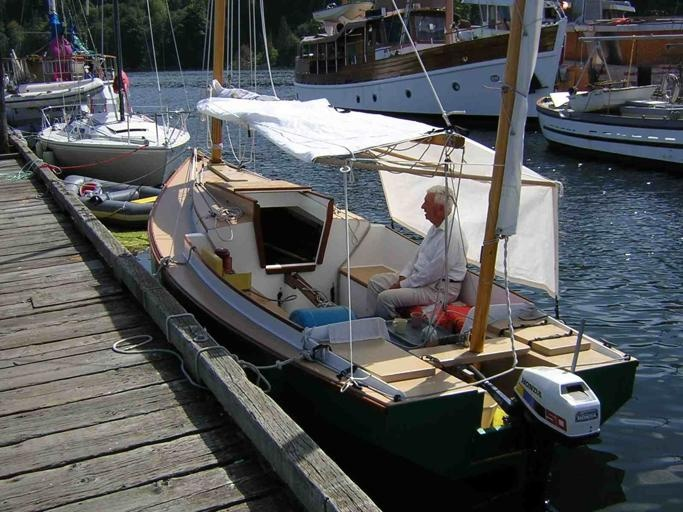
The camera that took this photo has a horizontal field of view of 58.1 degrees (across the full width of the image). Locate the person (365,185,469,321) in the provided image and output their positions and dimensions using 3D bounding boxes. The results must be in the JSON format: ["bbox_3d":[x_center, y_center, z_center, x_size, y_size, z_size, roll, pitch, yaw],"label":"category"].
[{"bbox_3d":[0.715,0.112,5.824,1.051,1.405,0.617,-2,20,5],"label":"person"}]
